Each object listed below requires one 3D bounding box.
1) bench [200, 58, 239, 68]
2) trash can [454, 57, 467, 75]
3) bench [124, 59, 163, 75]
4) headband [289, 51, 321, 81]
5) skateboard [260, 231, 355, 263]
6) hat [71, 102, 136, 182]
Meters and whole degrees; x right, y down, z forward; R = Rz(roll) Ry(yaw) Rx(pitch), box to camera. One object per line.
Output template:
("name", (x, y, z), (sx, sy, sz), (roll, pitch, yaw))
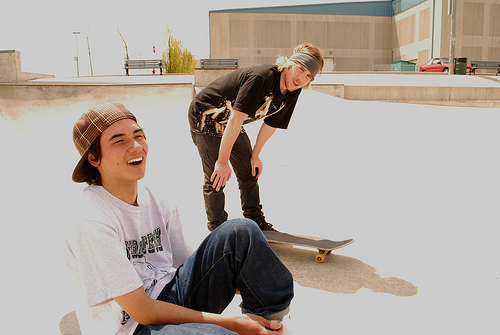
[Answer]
("bench", (-0.899, -3.250, 20.583), (1.147, 0.245, 1.295), (2, 10, 16))
("trash can", (8.380, -3.980, 26.085), (0.630, 0.678, 0.644), (0, 7, 13))
("bench", (-4.097, -3.821, 25.236), (1.441, 0.602, 4.566), (-2, 9, -9))
("headband", (0.971, -1.790, 11.572), (0.498, 0.236, 0.400), (27, -16, 43))
("skateboard", (1.027, 1.466, 11.924), (1.806, 0.321, 0.453), (6, 18, 17))
("hat", (-2.475, -0.543, 10.418), (1.192, 0.573, 0.891), (-40, -15, 20))
